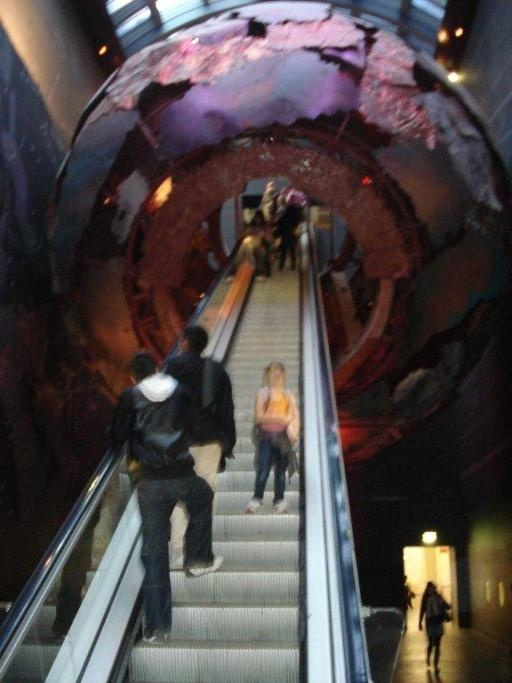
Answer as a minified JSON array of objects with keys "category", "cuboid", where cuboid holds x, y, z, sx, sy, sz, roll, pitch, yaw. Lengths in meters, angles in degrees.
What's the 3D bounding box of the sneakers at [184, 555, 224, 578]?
[{"category":"sneakers","cuboid":[-0.277,1.191,2.519,0.198,0.081,0.094,-10,1,-14]}]
